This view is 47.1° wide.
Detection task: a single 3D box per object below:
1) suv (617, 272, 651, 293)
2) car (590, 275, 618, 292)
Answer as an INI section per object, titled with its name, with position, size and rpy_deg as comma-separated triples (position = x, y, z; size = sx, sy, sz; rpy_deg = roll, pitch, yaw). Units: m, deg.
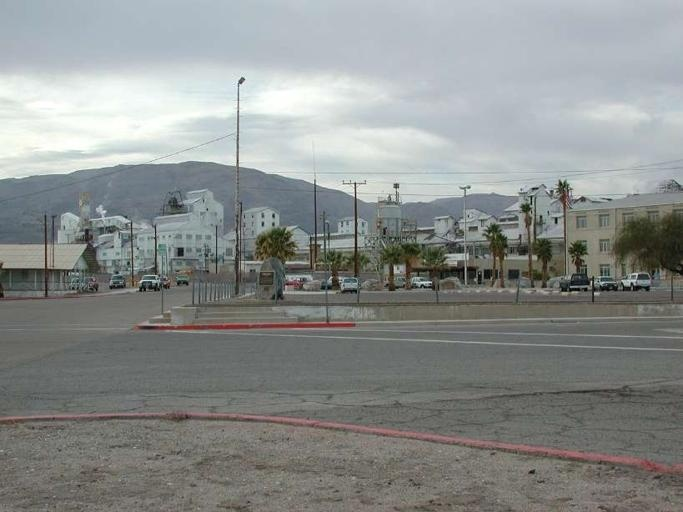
[suv]
position = 25.298, 2.307, 67.739
size = 1.498, 1.305, 2.744
rpy_deg = 0, 4, -9
[car]
position = 23.308, 2.501, 69.868
size = 1.197, 0.967, 2.461
rpy_deg = -1, -6, -3
